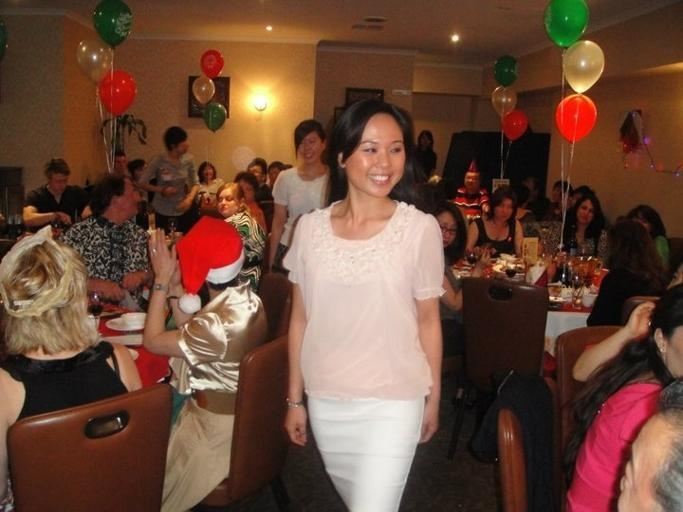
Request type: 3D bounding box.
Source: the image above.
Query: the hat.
[{"bbox_3d":[-0.556,0.031,2.205,0.239,0.403,0.196,25,-5,7],"label":"hat"}]
